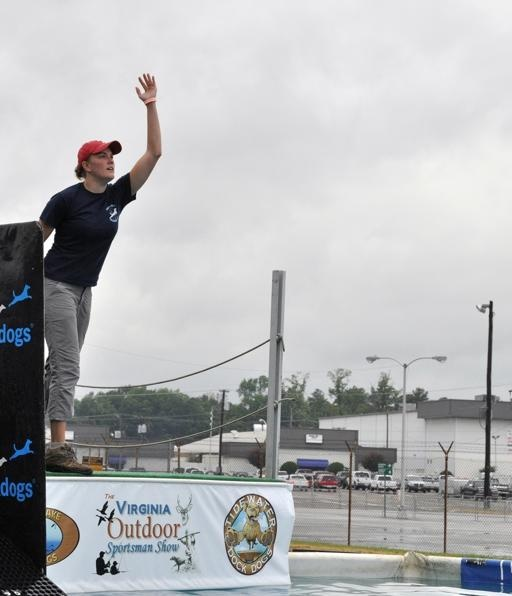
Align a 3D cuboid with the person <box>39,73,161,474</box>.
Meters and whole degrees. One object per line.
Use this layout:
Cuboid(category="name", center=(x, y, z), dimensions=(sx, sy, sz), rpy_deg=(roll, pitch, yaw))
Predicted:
Cuboid(category="person", center=(-1.431, -0.236, 13.386), dimensions=(0.892, 3.418, 0.671), rpy_deg=(4, -10, -8))
